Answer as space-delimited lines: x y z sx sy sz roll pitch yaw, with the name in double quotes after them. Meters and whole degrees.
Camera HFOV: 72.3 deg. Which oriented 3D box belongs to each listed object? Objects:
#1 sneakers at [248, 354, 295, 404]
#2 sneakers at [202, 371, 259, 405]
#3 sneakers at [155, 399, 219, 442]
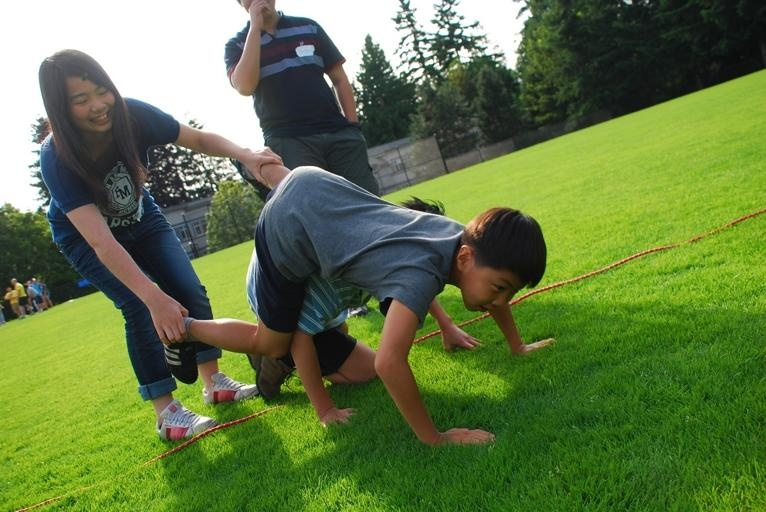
-0.788 0.785 3.669 0.231 0.560 0.183 1 25 -2 "sneakers"
-1.155 1.004 3.994 0.507 0.239 0.178 -8 1 18 "sneakers"
-1.379 1.100 3.577 0.508 0.249 0.187 -8 18 35 "sneakers"
